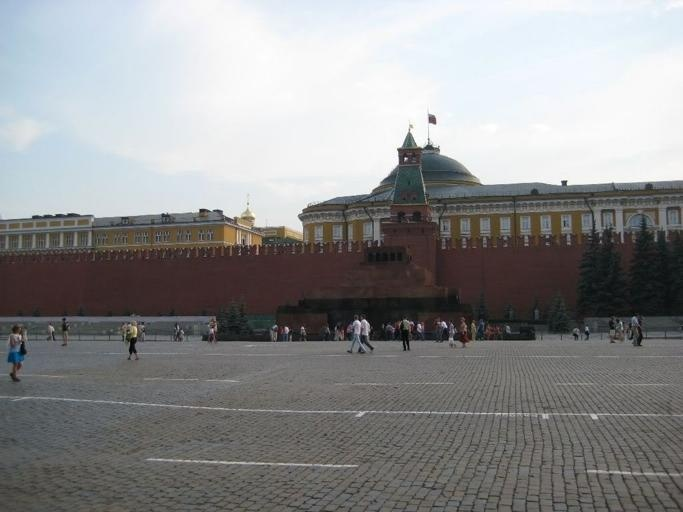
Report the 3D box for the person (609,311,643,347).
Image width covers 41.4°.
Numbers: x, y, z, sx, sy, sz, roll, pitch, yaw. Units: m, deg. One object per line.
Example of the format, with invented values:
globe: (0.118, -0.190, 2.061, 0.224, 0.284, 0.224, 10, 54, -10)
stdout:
person: (8.093, 2.104, 25.561, 0.734, 1.358, 2.349, -2, -14, 13)
